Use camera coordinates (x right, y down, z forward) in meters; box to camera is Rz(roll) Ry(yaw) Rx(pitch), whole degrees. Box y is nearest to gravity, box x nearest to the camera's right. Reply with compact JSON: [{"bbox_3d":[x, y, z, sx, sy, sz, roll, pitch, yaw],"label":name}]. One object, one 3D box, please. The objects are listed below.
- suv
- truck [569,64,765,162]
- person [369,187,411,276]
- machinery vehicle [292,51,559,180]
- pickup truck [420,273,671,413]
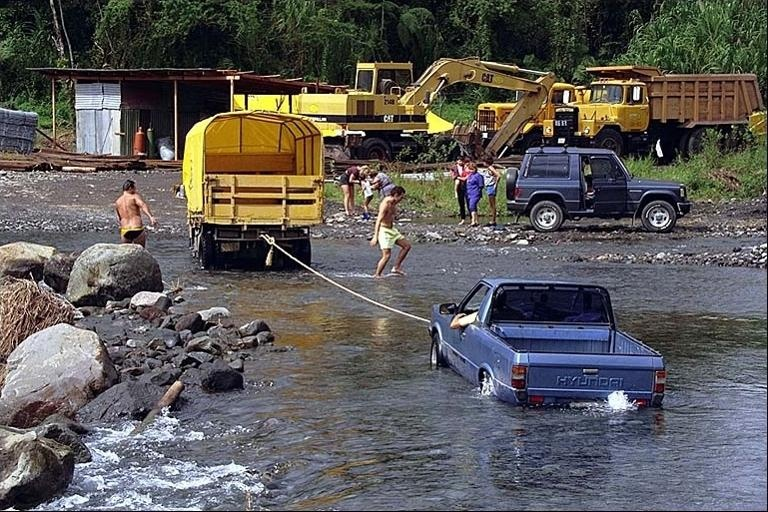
[{"bbox_3d":[6.634,-2.149,36.137,5.428,2.872,2.659,-1,8,0],"label":"suv"},{"bbox_3d":[11.738,-5.833,46.781,10.444,4.010,3.216,0,-7,9],"label":"truck"},{"bbox_3d":[0.186,-0.708,28.791,1.132,2.311,0.811,0,1,2],"label":"person"},{"bbox_3d":[2.257,-6.164,47.884,11.990,5.336,4.602,-3,8,-18],"label":"machinery vehicle"},{"bbox_3d":[2.860,1.451,21.240,3.398,2.218,5.716,2,9,-5],"label":"pickup truck"}]
